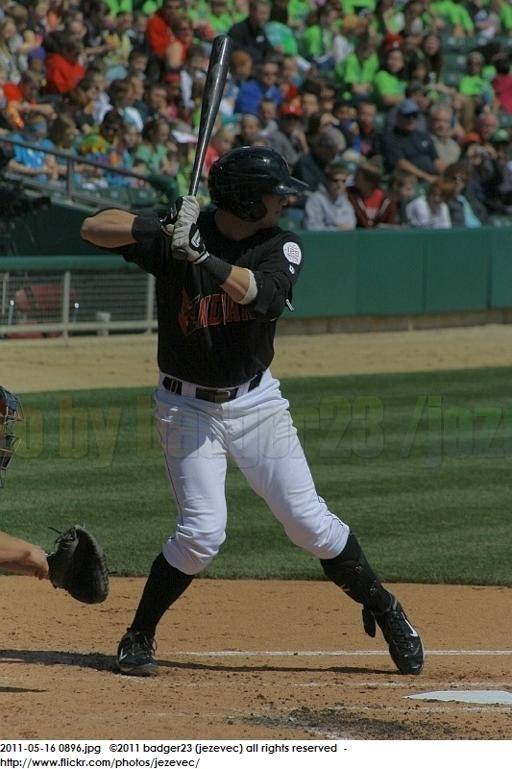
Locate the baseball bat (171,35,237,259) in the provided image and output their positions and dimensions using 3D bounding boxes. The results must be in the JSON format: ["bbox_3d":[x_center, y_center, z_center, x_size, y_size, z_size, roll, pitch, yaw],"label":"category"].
[{"bbox_3d":[-0.146,-0.741,3.020,0.132,0.083,0.751,11,52,5],"label":"baseball bat"}]

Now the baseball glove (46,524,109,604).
[{"bbox_3d":[-0.559,0.497,3.133,0.203,0.245,0.126,6,15,43],"label":"baseball glove"}]

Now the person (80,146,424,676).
[{"bbox_3d":[-0.033,0.091,2.970,0.830,1.500,0.536,0,5,-44],"label":"person"}]

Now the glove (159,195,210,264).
[{"bbox_3d":[-0.181,-0.387,2.692,0.129,0.168,0.065,9,-29,-16],"label":"glove"}]

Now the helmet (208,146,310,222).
[{"bbox_3d":[-0.007,-0.530,2.795,0.276,0.179,0.192,5,12,17],"label":"helmet"}]

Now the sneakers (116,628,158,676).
[{"bbox_3d":[-0.342,0.776,2.998,0.071,0.073,0.179,7,-10,-23],"label":"sneakers"}]
